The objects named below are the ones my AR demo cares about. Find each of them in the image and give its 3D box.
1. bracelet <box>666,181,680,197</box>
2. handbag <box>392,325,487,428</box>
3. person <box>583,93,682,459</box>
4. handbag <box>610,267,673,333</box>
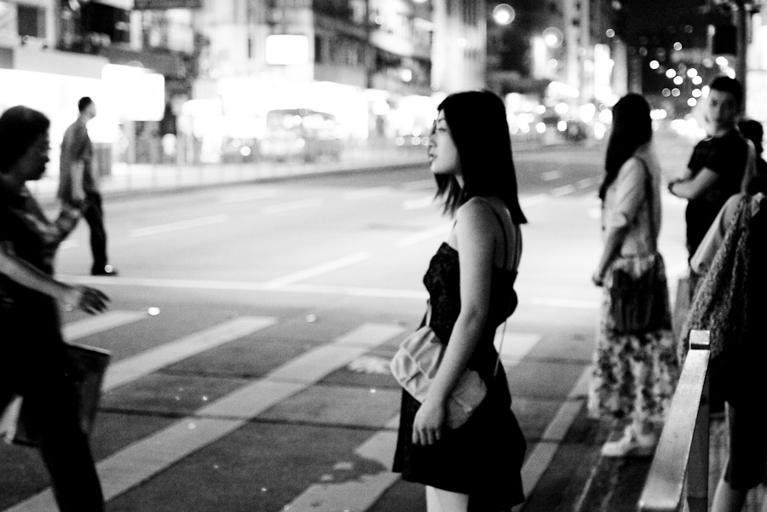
[{"bbox_3d":[2.022,-0.474,5.125,0.095,0.057,0.099,-8,-2,32],"label":"bracelet"},{"bbox_3d":[0.220,0.421,2.684,0.358,0.289,0.141,49,20,20],"label":"handbag"},{"bbox_3d":[1.692,0.151,4.866,0.551,2.426,0.359,3,8,21],"label":"person"},{"bbox_3d":[1.728,0.304,4.907,0.439,0.481,0.098,-1,7,-10],"label":"handbag"}]
